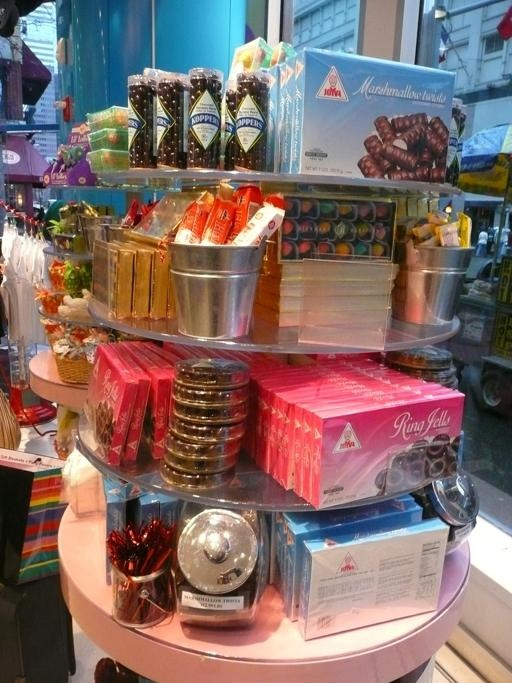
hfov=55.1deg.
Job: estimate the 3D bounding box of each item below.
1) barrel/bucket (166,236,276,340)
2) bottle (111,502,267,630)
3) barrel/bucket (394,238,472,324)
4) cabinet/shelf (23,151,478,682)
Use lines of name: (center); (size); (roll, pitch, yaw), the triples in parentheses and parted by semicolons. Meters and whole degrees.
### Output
barrel/bucket: (-0.078, -0.109, 0.936); (0.186, 0.178, 0.183); (1, 10, 0)
bottle: (-0.139, 0.459, 1.003); (0.267, 0.116, 0.220); (-2, 46, -2)
barrel/bucket: (0.430, -0.153, 1.248); (0.206, 0.187, 0.199); (2, 14, -1)
cabinet/shelf: (-0.010, 0.146, 1.416); (1.114, 1.107, 1.101); (8, 14, 28)
